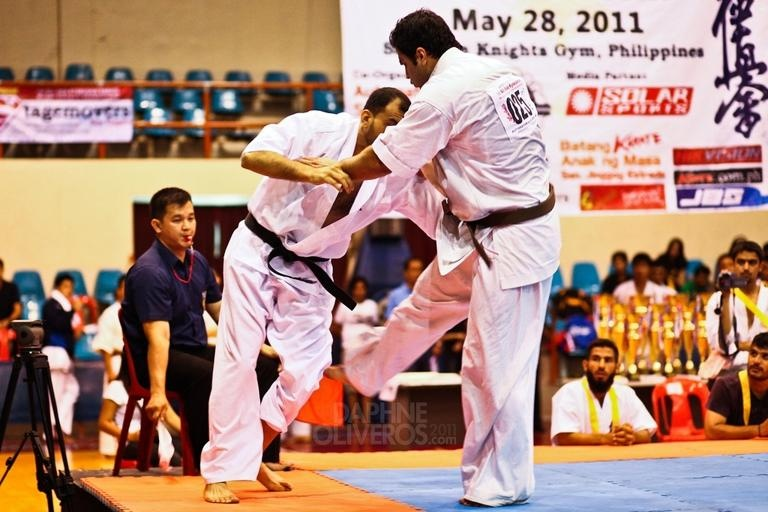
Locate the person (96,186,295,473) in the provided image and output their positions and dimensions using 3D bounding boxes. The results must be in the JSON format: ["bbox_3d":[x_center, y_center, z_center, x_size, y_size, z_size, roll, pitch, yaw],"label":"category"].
[{"bbox_3d":[-1.627,0.490,8.019,0.962,2.286,0.912,-2,-5,23],"label":"person"}]

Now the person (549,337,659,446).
[{"bbox_3d":[1.671,1.067,8.483,0.787,1.126,0.755,-1,-12,-2],"label":"person"}]

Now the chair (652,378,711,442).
[{"bbox_3d":[2.526,1.294,9.245,0.534,0.639,0.527,-1,0,18],"label":"chair"}]

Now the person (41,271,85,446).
[{"bbox_3d":[-3.528,1.100,12.076,0.493,1.760,0.532,-2,5,12],"label":"person"}]
